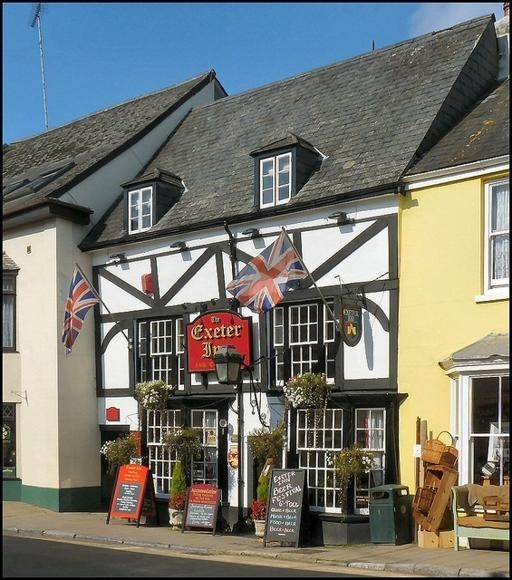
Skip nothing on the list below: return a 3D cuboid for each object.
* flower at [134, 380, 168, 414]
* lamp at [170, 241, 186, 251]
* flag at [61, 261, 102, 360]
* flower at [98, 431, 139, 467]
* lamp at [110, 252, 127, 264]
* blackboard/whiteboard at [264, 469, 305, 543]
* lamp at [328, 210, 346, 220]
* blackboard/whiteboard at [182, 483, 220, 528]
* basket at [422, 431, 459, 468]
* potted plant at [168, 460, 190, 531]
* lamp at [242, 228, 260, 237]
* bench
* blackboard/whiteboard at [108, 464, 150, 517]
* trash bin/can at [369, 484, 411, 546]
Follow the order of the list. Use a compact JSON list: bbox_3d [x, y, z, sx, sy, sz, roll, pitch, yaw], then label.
[{"bbox_3d":[-1.815,2.011,24.599,0.502,0.343,0.556,0,-9,15],"label":"flower"},{"bbox_3d":[-1.434,-0.777,25.061,0.102,0.183,0.451,-7,5,-43],"label":"lamp"},{"bbox_3d":[-3.272,0.375,24.992,0.692,1.524,0.333,-4,4,-12],"label":"flag"},{"bbox_3d":[-2.535,3.010,24.935,0.619,0.467,0.679,-18,-1,12],"label":"flower"},{"bbox_3d":[-2.672,-0.574,26.146,0.102,0.202,0.484,-7,5,-42],"label":"lamp"},{"bbox_3d":[0.497,3.536,21.692,0.684,1.571,0.534,-7,-31,25],"label":"blackboard/whiteboard"},{"bbox_3d":[1.388,-1.229,22.729,0.149,0.148,0.416,-7,5,-37],"label":"lamp"},{"bbox_3d":[-0.918,3.696,22.756,0.591,0.905,0.309,-2,-20,20],"label":"blackboard/whiteboard"},{"bbox_3d":[2.864,2.551,20.751,0.378,0.538,0.506,-9,-32,44],"label":"basket"},{"bbox_3d":[-1.350,3.627,23.551,0.319,1.205,0.283,-1,-5,-21],"label":"potted plant"},{"bbox_3d":[-0.059,-0.987,23.881,0.239,0.158,0.097,2,-27,14],"label":"lamp"},{"bbox_3d":[3.371,3.380,19.837,0.857,0.945,0.532,-2,4,24],"label":"bench"},{"bbox_3d":[-2.240,3.595,23.755,0.652,0.874,0.571,-2,4,22],"label":"blackboard/whiteboard"},{"bbox_3d":[2.128,3.520,21.229,0.527,1.041,0.510,-2,-7,26],"label":"trash bin/can"}]
